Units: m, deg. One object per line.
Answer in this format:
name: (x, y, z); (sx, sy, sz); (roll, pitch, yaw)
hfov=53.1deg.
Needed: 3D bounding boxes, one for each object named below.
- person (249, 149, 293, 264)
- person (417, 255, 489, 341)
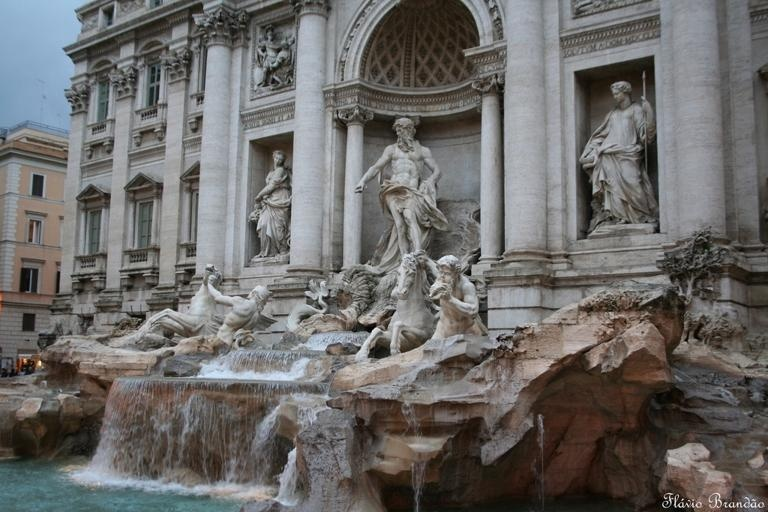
person: (-3.786, -1.670, 26.045); (1.292, 3.749, 0.509); (-4, -8, 12)
person: (1.468, 0.864, 16.267); (1.054, 1.697, 0.672); (-3, -8, 3)
